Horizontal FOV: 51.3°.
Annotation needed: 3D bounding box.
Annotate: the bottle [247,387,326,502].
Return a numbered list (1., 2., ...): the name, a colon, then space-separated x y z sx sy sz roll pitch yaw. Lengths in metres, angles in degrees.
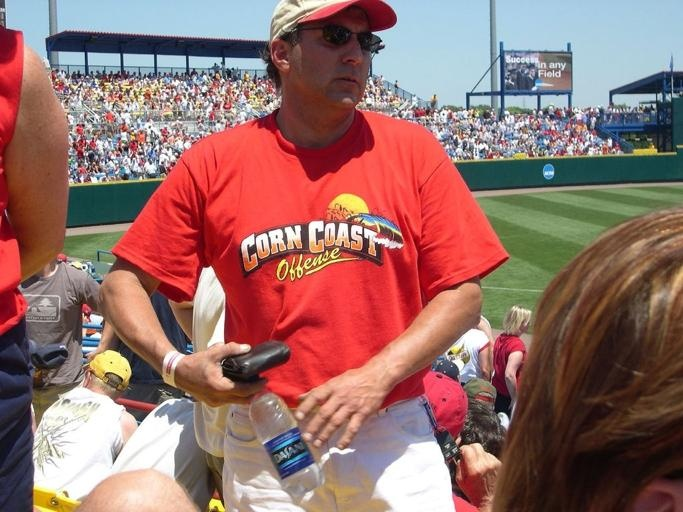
1. bottle: -0.166 0.602 2.256 0.139 0.141 0.427 -23 68 -30

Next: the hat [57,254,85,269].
1. hat: -3.082 0.054 8.149 0.156 0.091 0.229 24 -2 13
